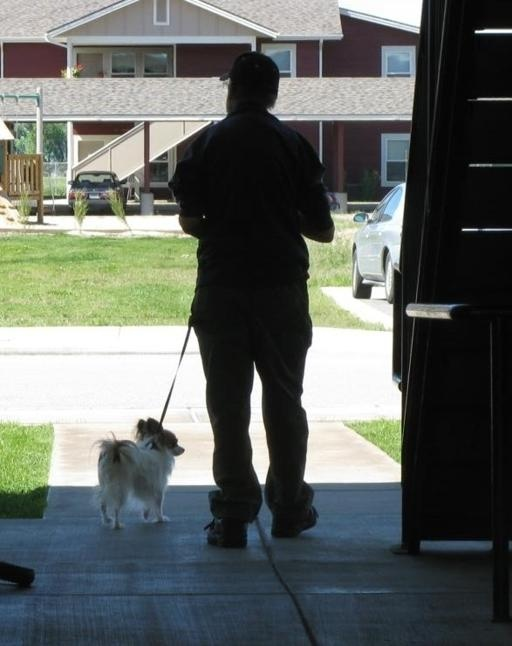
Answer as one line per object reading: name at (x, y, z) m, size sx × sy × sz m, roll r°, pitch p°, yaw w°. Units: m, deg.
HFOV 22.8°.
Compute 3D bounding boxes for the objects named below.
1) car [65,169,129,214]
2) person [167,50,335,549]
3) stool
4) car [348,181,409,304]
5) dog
car at (-4.480, -3.639, 35.392) m, size 1.458 × 1.144 × 4.412 m, roll -1°, pitch 8°, yaw -9°
person at (-0.017, -0.086, 4.938) m, size 0.626 × 1.938 × 0.354 m, roll 1°, pitch 5°, yaw 4°
stool at (0.686, 0.492, 4.376) m, size 0.267 × 0.802 × 0.768 m, roll 0°, pitch 2°, yaw -5°
car at (1.585, -0.978, 16.219) m, size 0.777 × 1.212 × 2.250 m, roll 0°, pitch 11°, yaw -6°
dog at (-0.508, 0.670, 5.613) m, size 0.161 × 0.499 × 0.443 m, roll 5°, pitch 7°, yaw 44°
